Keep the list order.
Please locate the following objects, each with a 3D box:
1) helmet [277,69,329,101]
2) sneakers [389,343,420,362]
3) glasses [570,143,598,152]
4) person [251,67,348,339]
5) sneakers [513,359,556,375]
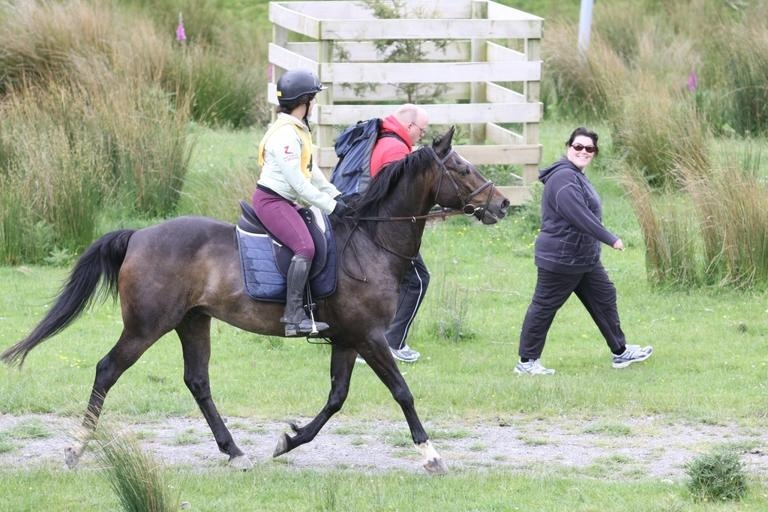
[{"bbox_3d":[-1.028,-2.108,17.595,0.463,0.267,0.353,-14,25,-23],"label":"helmet"},{"bbox_3d":[0.324,1.367,20.025,0.474,0.243,0.195,3,14,-7],"label":"sneakers"},{"bbox_3d":[2.737,-1.448,19.399,0.366,0.122,0.130,1,5,8],"label":"glasses"},{"bbox_3d":[-1.104,-0.643,17.613,1.026,3.278,0.597,0,4,-4],"label":"person"},{"bbox_3d":[2.102,1.571,19.589,0.544,0.266,0.219,1,3,5],"label":"sneakers"}]
